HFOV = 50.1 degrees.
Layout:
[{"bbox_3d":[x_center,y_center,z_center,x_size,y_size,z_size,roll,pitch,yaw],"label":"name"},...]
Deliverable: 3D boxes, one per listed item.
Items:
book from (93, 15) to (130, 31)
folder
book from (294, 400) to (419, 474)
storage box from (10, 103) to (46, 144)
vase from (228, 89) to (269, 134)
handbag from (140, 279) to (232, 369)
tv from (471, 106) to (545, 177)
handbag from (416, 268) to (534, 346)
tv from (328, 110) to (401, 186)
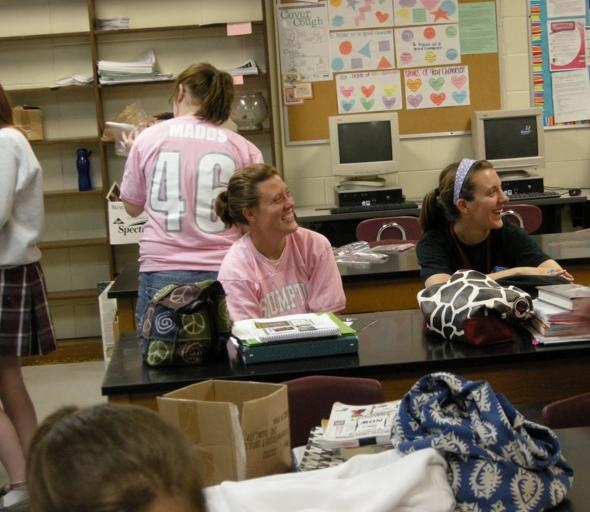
[{"bbox_3d":[-1.353,-1.700,4.616,0.257,0.127,0.163,-6,9,-3],"label":"book"},{"bbox_3d":[0.012,0.279,1.919,0.353,0.072,0.082,-7,9,-6],"label":"folder"},{"bbox_3d":[0.109,0.360,1.324,0.202,0.089,0.235,-3,10,14],"label":"book"},{"bbox_3d":[-1.992,-0.996,4.744,0.207,0.267,0.158,-5,2,-24],"label":"storage box"},{"bbox_3d":[-0.355,-1.086,4.757,0.276,0.265,0.306,-2,6,-14],"label":"vase"},{"bbox_3d":[-0.334,0.190,1.887,0.254,0.254,0.239,2,0,-14],"label":"handbag"},{"bbox_3d":[1.658,-0.871,4.997,0.525,0.469,0.313,-4,-7,2],"label":"tv"},{"bbox_3d":[0.539,0.132,2.024,0.202,0.113,0.294,-8,13,-13],"label":"handbag"},{"bbox_3d":[0.553,-0.843,5.018,0.531,0.539,0.313,-3,-2,9],"label":"tv"}]
